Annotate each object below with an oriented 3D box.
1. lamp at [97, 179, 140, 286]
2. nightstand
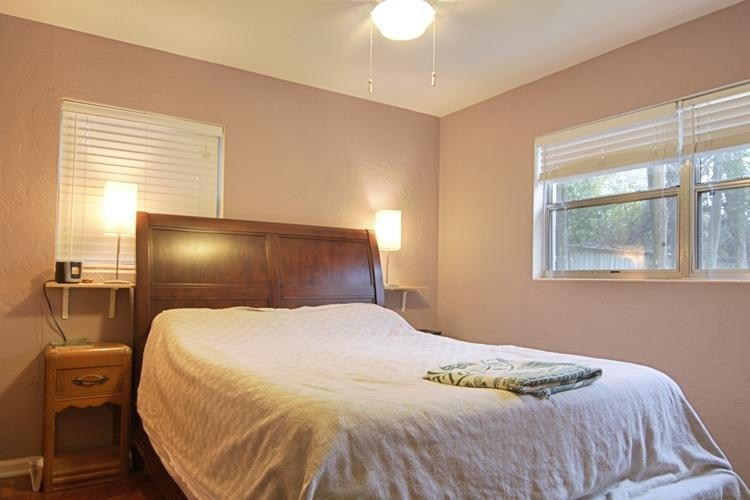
[{"bbox_3d":[-2.005,-0.138,4.205,0.256,0.741,0.294,2,-1,-27],"label":"lamp"},{"bbox_3d":[-2.138,1.186,3.973,0.553,1.034,0.504,2,-1,-30],"label":"nightstand"}]
